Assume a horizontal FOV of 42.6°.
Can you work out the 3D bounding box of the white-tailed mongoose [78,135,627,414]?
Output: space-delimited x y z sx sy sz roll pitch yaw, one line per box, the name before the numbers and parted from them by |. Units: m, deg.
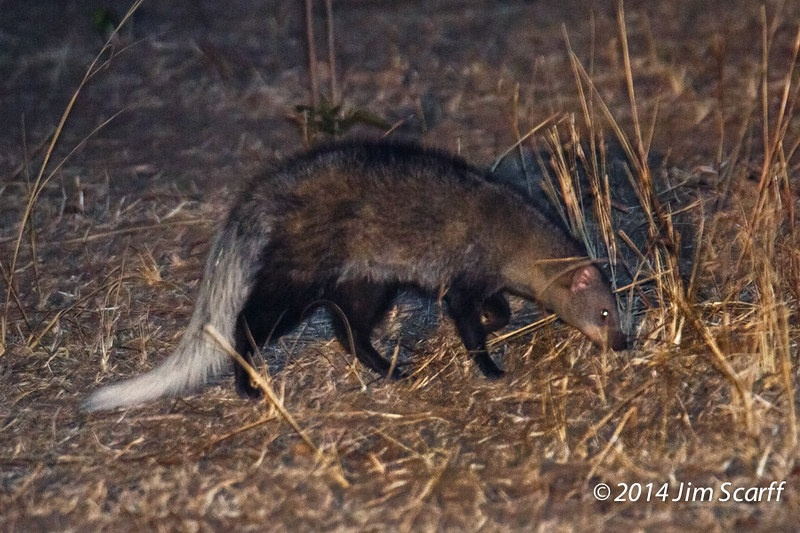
white-tailed mongoose | -0.301 0.054 8.693 4.543 2.010 0.951 -2 9 -9
